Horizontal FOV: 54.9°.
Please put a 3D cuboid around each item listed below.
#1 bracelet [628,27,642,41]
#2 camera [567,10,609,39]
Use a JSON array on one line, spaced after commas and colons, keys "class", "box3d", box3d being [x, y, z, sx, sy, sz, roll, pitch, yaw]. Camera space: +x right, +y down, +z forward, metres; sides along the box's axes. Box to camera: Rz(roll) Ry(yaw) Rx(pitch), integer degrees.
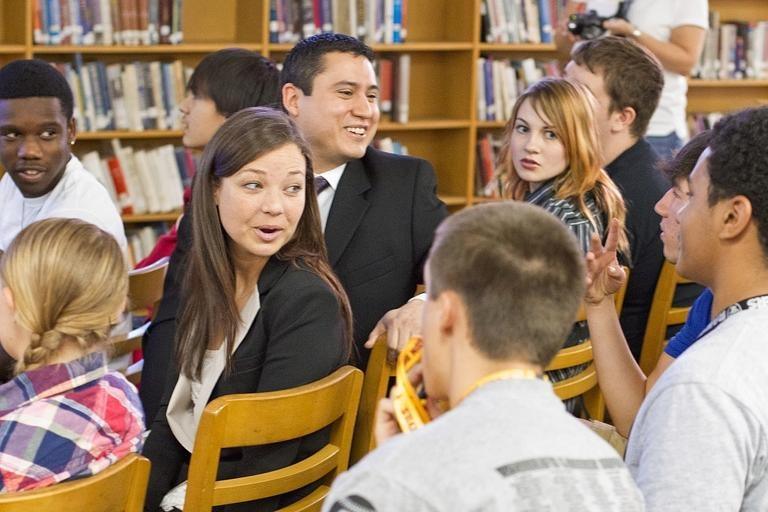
[{"class": "bracelet", "box3d": [1.223, -1.084, 3.595, 0.042, 0.060, 0.057, -4, 7, -7]}, {"class": "camera", "box3d": [0.999, -1.132, 3.664, 0.200, 0.124, 0.187, -2, 7, -21]}]
